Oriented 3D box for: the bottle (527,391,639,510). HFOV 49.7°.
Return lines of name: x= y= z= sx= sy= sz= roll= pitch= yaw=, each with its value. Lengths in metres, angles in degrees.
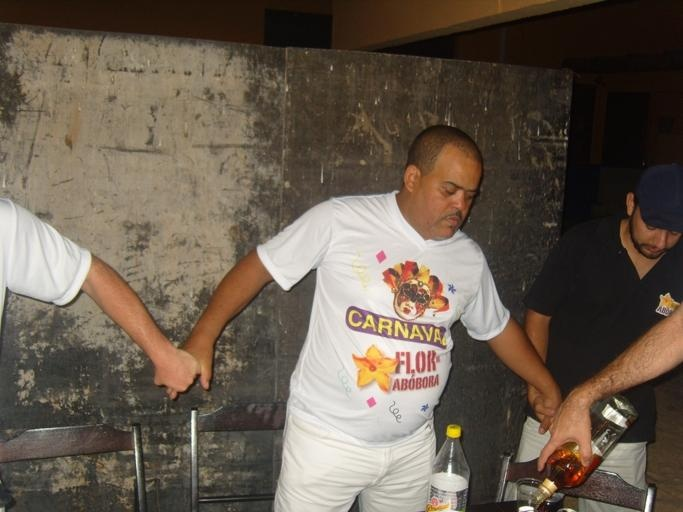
bottle: x=0.908 y=0.773 z=2.898 sx=0.539 sy=0.433 sz=0.275 roll=1 pitch=4 yaw=-38
